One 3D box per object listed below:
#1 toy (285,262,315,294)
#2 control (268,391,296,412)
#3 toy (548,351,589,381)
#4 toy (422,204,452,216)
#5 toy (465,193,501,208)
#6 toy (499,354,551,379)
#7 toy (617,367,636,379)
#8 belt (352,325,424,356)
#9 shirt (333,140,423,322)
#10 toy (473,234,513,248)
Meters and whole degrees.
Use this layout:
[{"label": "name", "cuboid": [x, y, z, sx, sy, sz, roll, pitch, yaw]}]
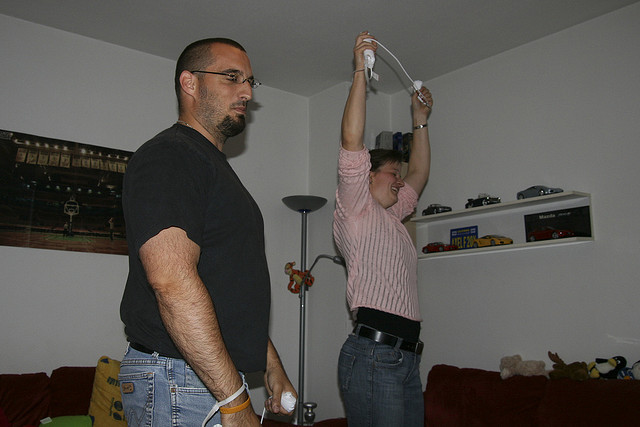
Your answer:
[{"label": "toy", "cuboid": [-0.187, 0.629, 4.562, 0.268, 0.282, 0.263, 2, -2, 14]}, {"label": "control", "cuboid": [-0.137, 0.784, 1.953, 0.071, 0.056, 0.032, 13, -20, -4]}, {"label": "toy", "cuboid": [1.762, 1.101, 3.351, 0.257, 0.117, 0.476, 2, -2, 28]}, {"label": "toy", "cuboid": [1.068, -0.004, 4.292, 0.116, 0.082, 0.191, 2, -12, -41]}, {"label": "toy", "cuboid": [1.404, -0.107, 4.023, 0.226, 0.113, 0.132, -14, -7, 41]}, {"label": "toy", "cuboid": [1.473, 1.111, 3.411, 0.229, 0.095, 0.167, -3, -8, 10]}, {"label": "toy", "cuboid": [2.032, 1.069, 3.131, 0.077, 0.078, 0.063, 8, -6, -2]}, {"label": "belt", "cuboid": [0.362, 0.653, 2.420, 0.203, 0.054, 0.200, 17, -11, 19]}, {"label": "shirt", "cuboid": [0.320, 0.099, 2.596, 0.481, 0.945, 0.294, 2, -2, 0]}, {"label": "toy", "cuboid": [1.447, 0.242, 3.962, 0.308, 0.113, 0.128, 2, -2, 22]}]
